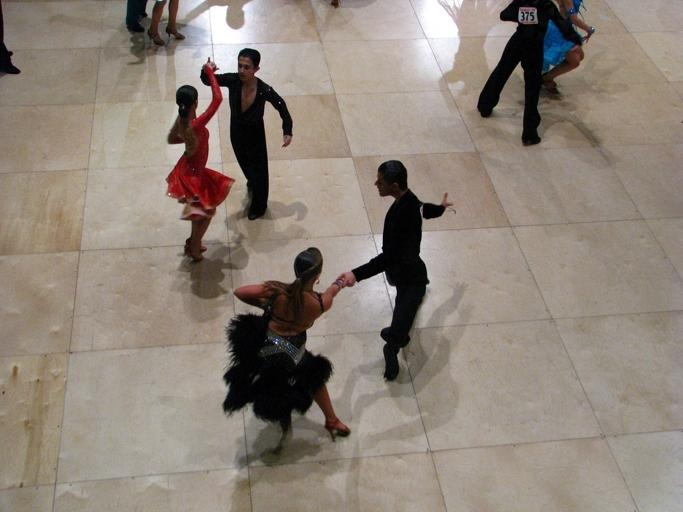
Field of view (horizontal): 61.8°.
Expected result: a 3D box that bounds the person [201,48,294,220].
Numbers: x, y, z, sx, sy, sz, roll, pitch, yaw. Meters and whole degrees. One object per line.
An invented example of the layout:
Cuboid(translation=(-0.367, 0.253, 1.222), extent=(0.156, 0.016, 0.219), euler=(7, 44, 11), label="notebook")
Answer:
Cuboid(translation=(-0.824, -1.136, 5.247), extent=(0.759, 1.522, 0.543), euler=(5, 46, -3), label="person")

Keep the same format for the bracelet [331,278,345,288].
Cuboid(translation=(-0.026, 0.194, 4.024), extent=(0.069, 0.073, 0.052), euler=(-15, 40, -40), label="bracelet")

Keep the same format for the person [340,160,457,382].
Cuboid(translation=(0.470, 0.199, 4.814), extent=(1.228, 2.161, 0.877), euler=(-1, 34, -1), label="person")

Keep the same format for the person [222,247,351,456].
Cuboid(translation=(-0.337, 0.691, 4.009), extent=(0.965, 1.541, 0.655), euler=(-1, 29, -19), label="person")

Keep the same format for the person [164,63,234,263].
Cuboid(translation=(-1.216, -0.766, 4.901), extent=(0.573, 1.438, 1.024), euler=(-9, 57, -7), label="person")

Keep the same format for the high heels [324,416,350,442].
Cuboid(translation=(-0.032, 1.295, 4.297), extent=(0.131, 0.316, 0.108), euler=(20, 75, -13), label="high heels")
